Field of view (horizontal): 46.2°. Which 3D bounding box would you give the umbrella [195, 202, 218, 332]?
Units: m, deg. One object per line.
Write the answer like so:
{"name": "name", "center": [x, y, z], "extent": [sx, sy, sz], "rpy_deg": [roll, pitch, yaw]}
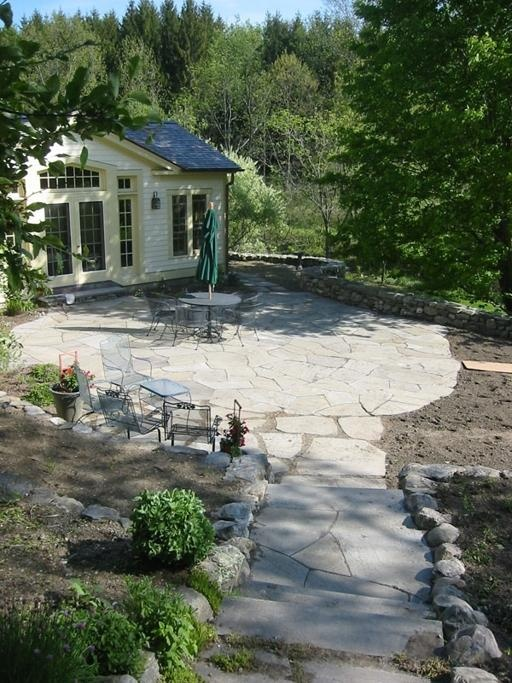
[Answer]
{"name": "umbrella", "center": [-0.892, -1.716, 11.447], "extent": [0.381, 1.798, 0.490], "rpy_deg": [8, 10, -7]}

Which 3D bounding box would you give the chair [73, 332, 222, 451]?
{"name": "chair", "center": [-1.314, 0.635, 7.406], "extent": [1.788, 1.065, 2.370], "rpy_deg": [7, 9, -6]}

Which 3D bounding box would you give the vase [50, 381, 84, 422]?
{"name": "vase", "center": [-2.293, 0.704, 7.482], "extent": [0.479, 0.446, 0.469], "rpy_deg": [0, 14, -14]}

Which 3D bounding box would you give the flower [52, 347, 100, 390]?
{"name": "flower", "center": [-2.579, 0.381, 8.567], "extent": [0.335, 0.456, 0.487], "rpy_deg": [-13, 23, -33]}

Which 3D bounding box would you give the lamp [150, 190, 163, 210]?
{"name": "lamp", "center": [-2.625, -3.725, 15.808], "extent": [0.183, 0.479, 0.422], "rpy_deg": [13, 10, 21]}
